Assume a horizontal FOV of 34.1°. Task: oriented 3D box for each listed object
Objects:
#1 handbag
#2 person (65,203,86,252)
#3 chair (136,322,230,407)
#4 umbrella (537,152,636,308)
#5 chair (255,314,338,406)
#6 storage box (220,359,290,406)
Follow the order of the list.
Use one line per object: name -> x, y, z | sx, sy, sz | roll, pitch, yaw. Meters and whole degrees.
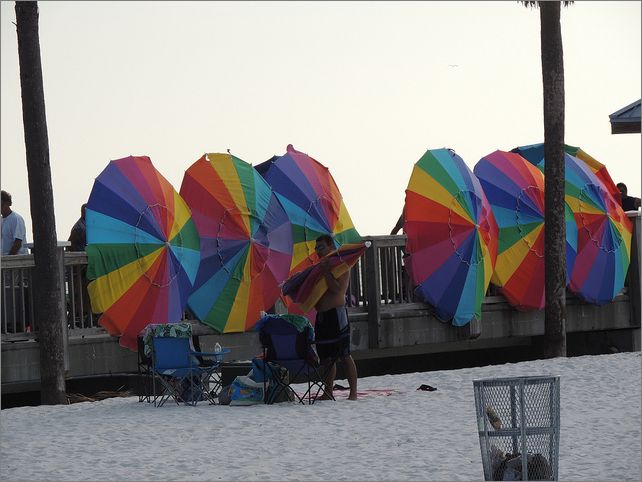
handbag -> -0.903, 1.982, 14.726 | 0.766, 0.406, 0.639 | -2, -9, -3
person -> -3.791, -0.200, 16.284 | 0.275, 0.818, 0.942 | -2, -5, -14
chair -> -1.914, 1.735, 14.697 | 1.100, 1.227, 1.125 | -1, -4, -13
umbrella -> 5.365, -0.029, 20.267 | 0.952, 2.766, 2.551 | -9, -20, 34
chair -> -0.358, 1.650, 14.771 | 0.883, 1.371, 0.983 | -3, 0, 18
storage box -> -0.877, 1.995, 14.632 | 0.749, 0.400, 0.621 | -2, -9, -1
